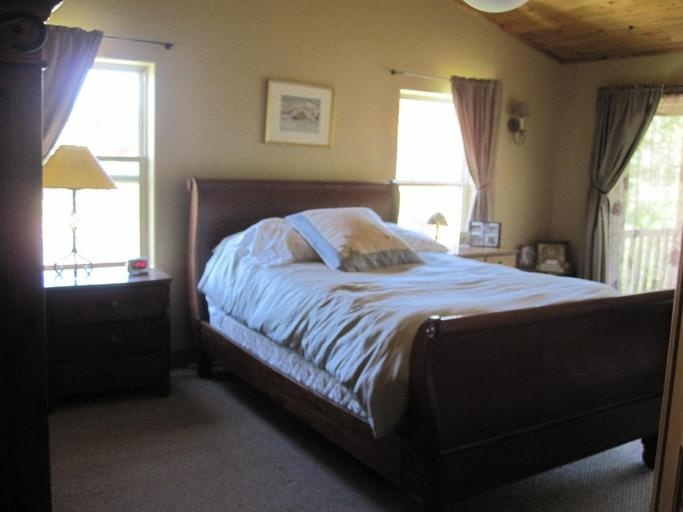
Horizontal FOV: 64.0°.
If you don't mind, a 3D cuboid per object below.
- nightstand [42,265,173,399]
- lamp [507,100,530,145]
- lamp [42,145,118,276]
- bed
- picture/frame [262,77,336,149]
[{"bbox_3d":[-1.438,0.415,3.617,0.911,1.017,0.687,-2,3,-30],"label":"nightstand"},{"bbox_3d":[1.862,-1.365,5.634,0.361,0.435,0.200,-8,14,-44],"label":"lamp"},{"bbox_3d":[-1.687,-0.301,3.547,0.395,0.812,0.565,-4,11,-28],"label":"lamp"},{"bbox_3d":[0.340,0.264,3.579,3.088,1.380,2.616,7,11,25],"label":"bed"},{"bbox_3d":[-0.367,-1.157,4.388,0.558,0.506,0.042,-1,8,-34],"label":"picture/frame"}]
